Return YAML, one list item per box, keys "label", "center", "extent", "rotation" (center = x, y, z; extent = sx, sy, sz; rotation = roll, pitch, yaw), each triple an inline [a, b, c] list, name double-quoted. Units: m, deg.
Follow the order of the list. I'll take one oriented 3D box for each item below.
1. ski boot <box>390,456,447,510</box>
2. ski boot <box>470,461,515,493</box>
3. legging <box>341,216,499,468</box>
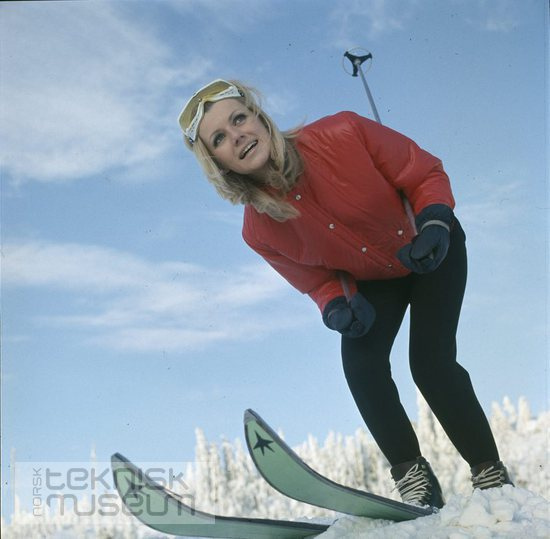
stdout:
- label: "ski boot"
  center: [0.780, 1.143, 4.848]
  extent: [0.283, 0.273, 0.404]
  rotation: [0, -4, 36]
- label: "ski boot"
  center: [1.123, 1.093, 4.681]
  extent: [0.214, 0.173, 0.135]
  rotation: [-5, -27, -18]
- label: "legging"
  center: [0.822, 0.314, 4.972]
  extent: [0.704, 1.912, 0.548]
  rotation: [-2, 1, 15]
